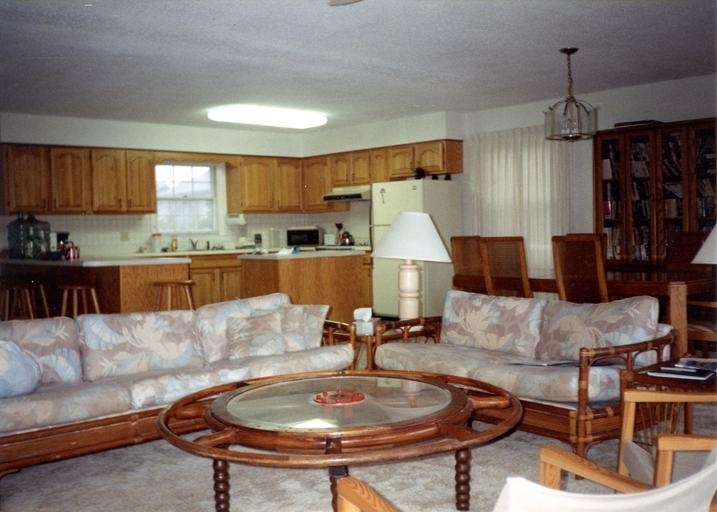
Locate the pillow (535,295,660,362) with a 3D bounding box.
[{"bbox_3d":[1.541,0.487,3.561,0.161,0.268,0.503,36,-31,-27],"label":"pillow"}]

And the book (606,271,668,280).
[{"bbox_3d":[2.308,0.165,4.542,0.247,0.047,0.235,0,0,-1],"label":"book"}]

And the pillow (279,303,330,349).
[{"bbox_3d":[-0.439,0.550,4.277,0.421,0.299,0.093,-1,-9,-22],"label":"pillow"}]

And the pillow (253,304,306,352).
[{"bbox_3d":[-0.602,0.578,4.285,0.408,0.296,0.106,-8,-13,-31],"label":"pillow"}]

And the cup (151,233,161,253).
[{"bbox_3d":[-3.114,-0.213,8.453,0.119,0.201,0.176,-5,3,-15],"label":"cup"}]

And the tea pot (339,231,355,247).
[{"bbox_3d":[-0.175,-0.276,9.281,0.201,0.234,0.309,-2,-3,41],"label":"tea pot"}]

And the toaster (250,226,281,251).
[{"bbox_3d":[-1.563,-0.250,9.462,0.616,0.455,0.419,1,-4,-32],"label":"toaster"}]

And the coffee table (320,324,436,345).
[{"bbox_3d":[0.135,0.631,4.419,0.478,0.097,0.457,-2,2,-38],"label":"coffee table"}]

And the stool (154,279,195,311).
[{"bbox_3d":[-2.083,0.440,6.291,0.462,0.453,0.457,-3,-3,39],"label":"stool"}]

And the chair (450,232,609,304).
[{"bbox_3d":[1.576,0.118,5.088,0.379,0.511,1.047,-5,5,-41],"label":"chair"}]
